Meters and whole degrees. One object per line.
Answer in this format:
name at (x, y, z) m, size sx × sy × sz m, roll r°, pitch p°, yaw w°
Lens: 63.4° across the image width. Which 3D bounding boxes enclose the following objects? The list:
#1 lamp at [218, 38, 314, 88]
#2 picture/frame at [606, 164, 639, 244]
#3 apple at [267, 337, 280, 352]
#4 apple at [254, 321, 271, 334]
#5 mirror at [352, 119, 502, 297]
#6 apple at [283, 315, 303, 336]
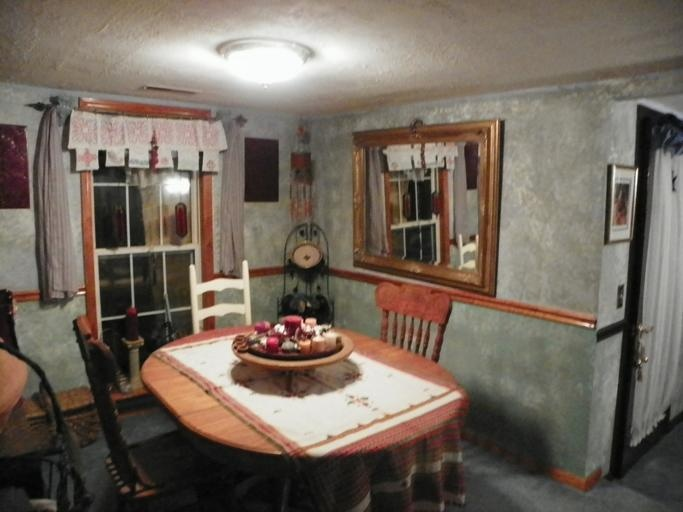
lamp at (-0.447, -1.152, 3.291) m, size 0.562 × 0.187 × 0.397 m, roll -4°, pitch 8°, yaw -14°
picture/frame at (1.854, -0.365, 3.693) m, size 0.032 × 0.552 × 0.458 m, roll 6°, pitch 11°, yaw 42°
apple at (-0.399, 0.516, 3.234) m, size 0.071 × 0.079 × 0.071 m, roll 0°, pitch 3°, yaw 14°
apple at (-0.515, 0.462, 3.585) m, size 0.152 × 0.084 × 0.158 m, roll 1°, pitch 3°, yaw -8°
mirror at (0.652, -0.484, 4.654) m, size 1.547 × 1.342 × 0.073 m, roll 1°, pitch 0°, yaw -30°
apple at (-0.305, 0.421, 3.373) m, size 0.103 × 0.119 × 0.106 m, roll 1°, pitch -1°, yaw -18°
